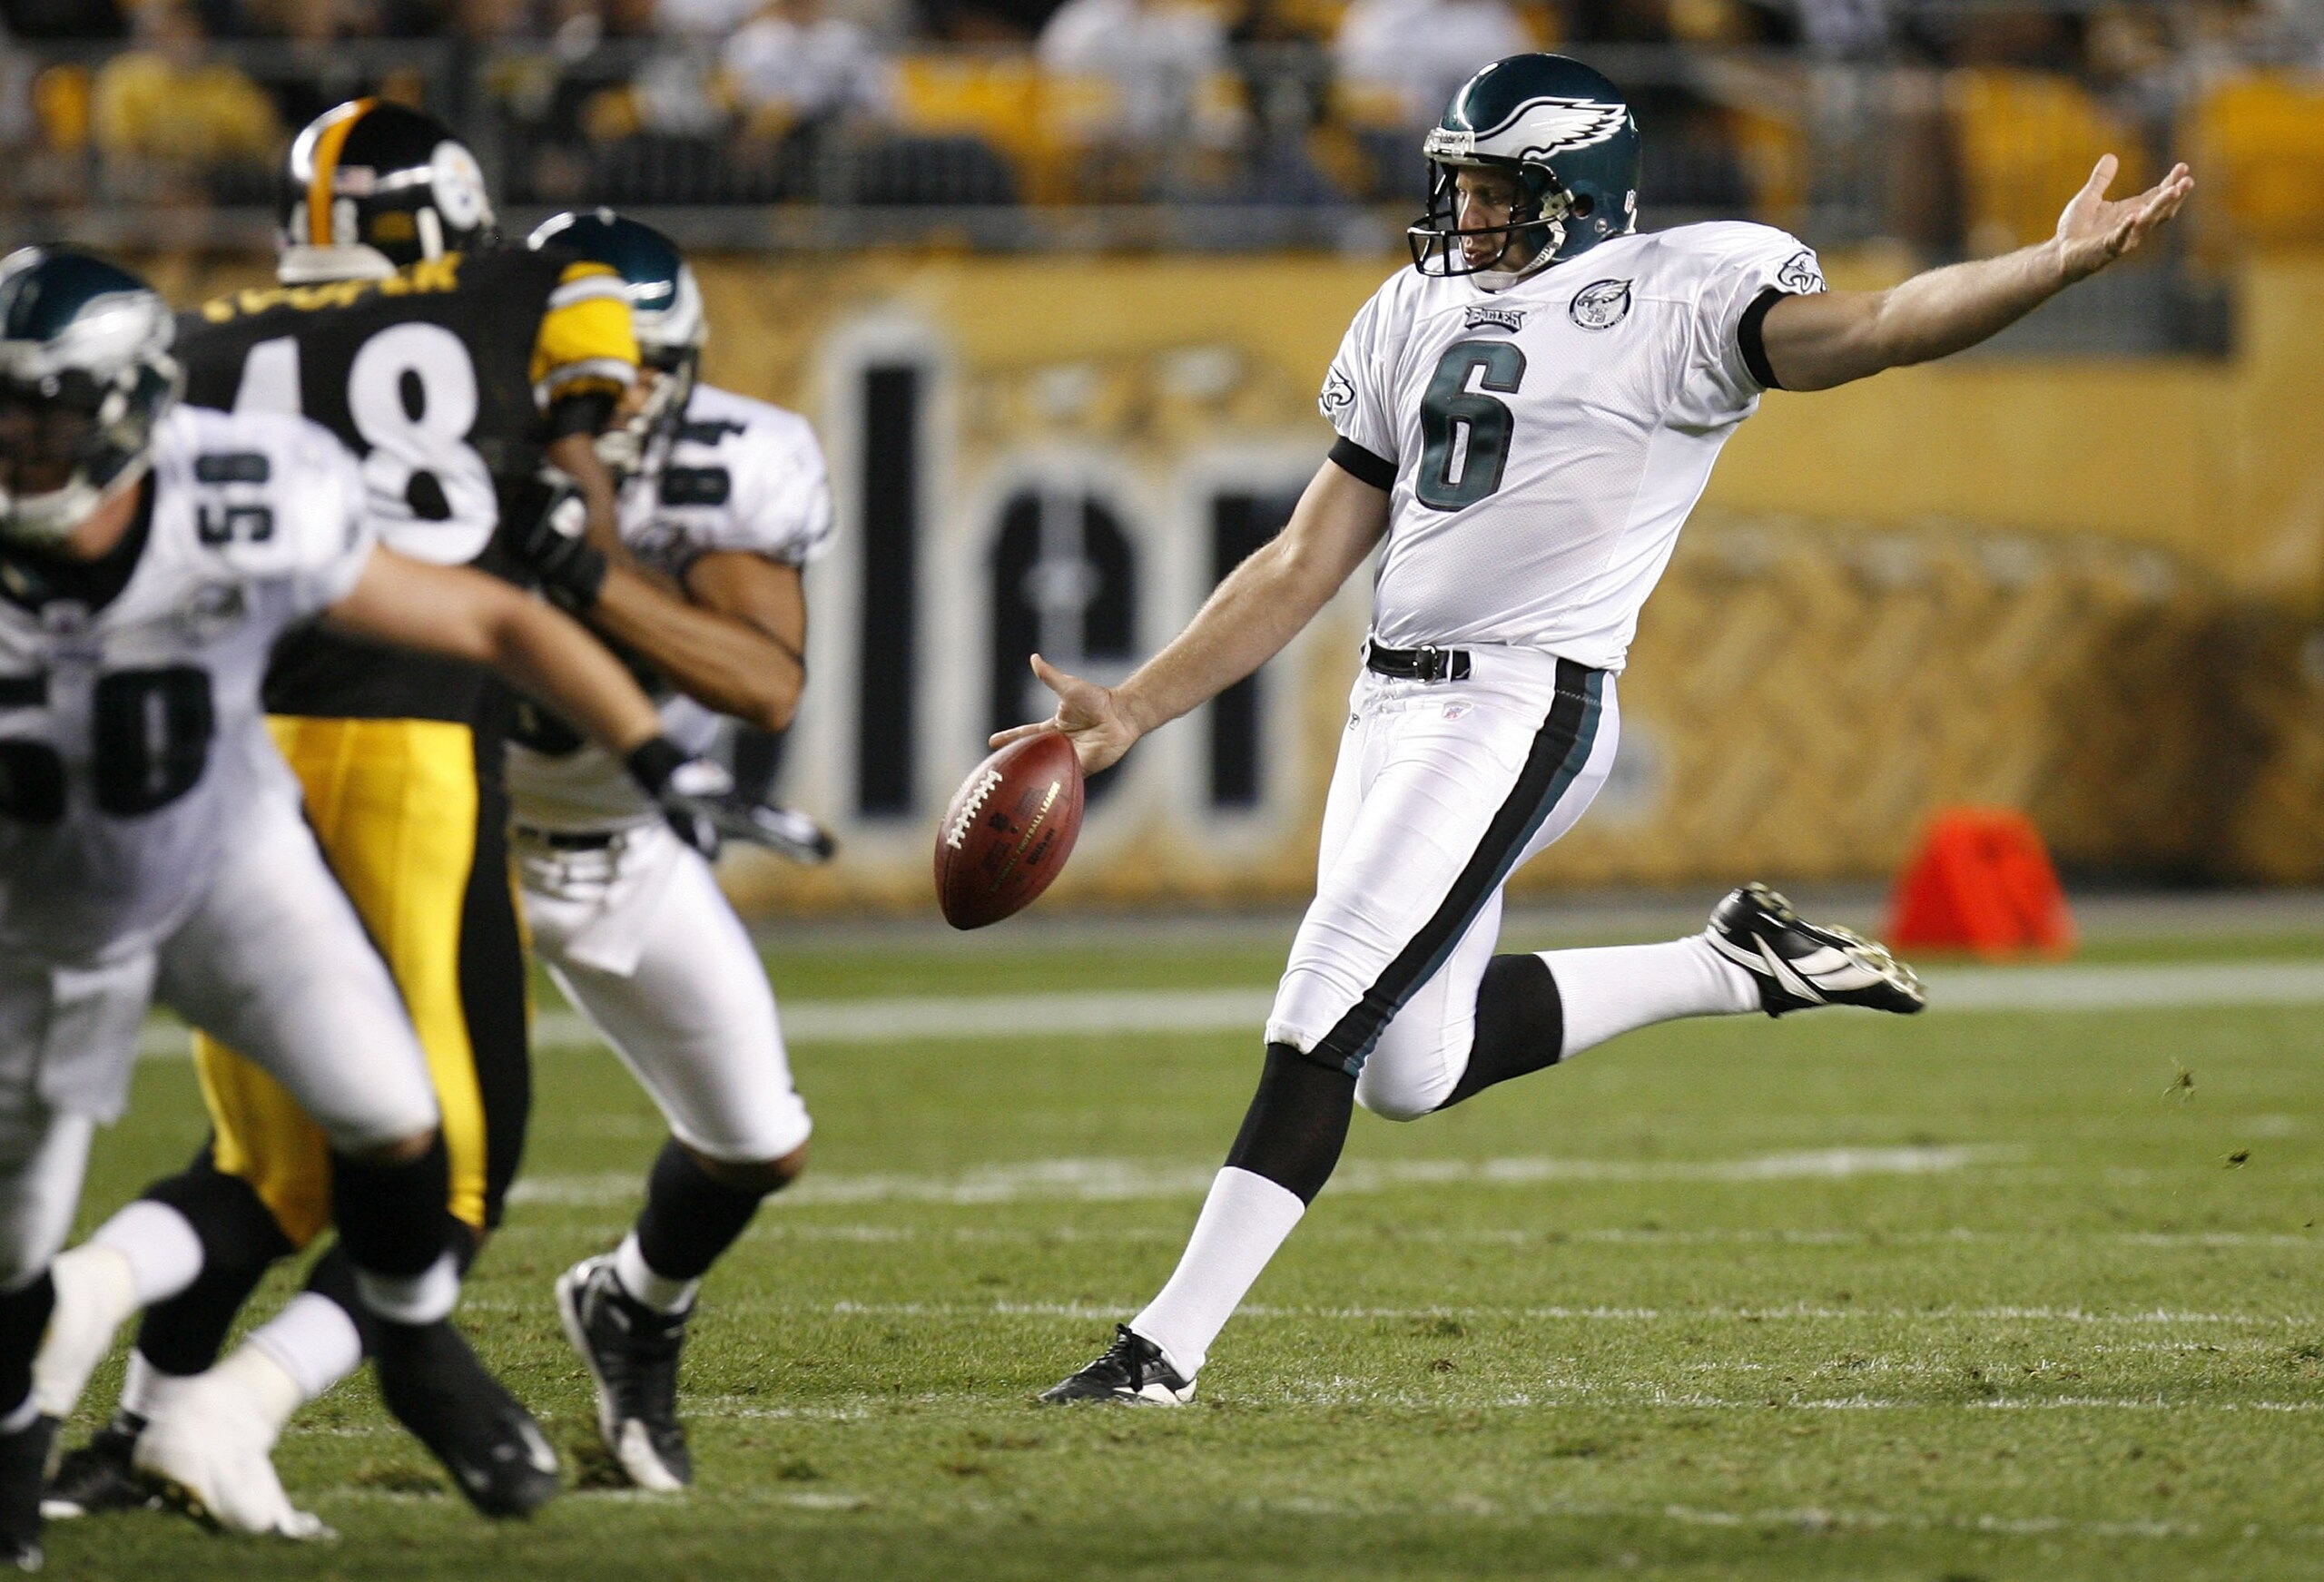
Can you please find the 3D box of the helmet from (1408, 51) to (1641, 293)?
[{"bbox_3d":[0.639,-1.097,6.426,0.437,0.360,0.312,-7,14,-17],"label":"helmet"}]

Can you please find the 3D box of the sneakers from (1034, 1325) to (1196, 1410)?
[{"bbox_3d":[-0.073,0.960,6.058,0.291,0.117,0.103,0,1,-9],"label":"sneakers"}]

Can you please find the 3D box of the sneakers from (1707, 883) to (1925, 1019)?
[{"bbox_3d":[1.197,0.283,6.811,0.473,0.199,0.183,5,25,40],"label":"sneakers"}]

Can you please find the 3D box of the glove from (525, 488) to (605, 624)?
[{"bbox_3d":[-0.907,-0.391,5.426,0.094,0.126,0.218,10,-2,-12],"label":"glove"}]

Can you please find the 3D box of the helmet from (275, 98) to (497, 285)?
[{"bbox_3d":[-1.270,-0.973,5.901,0.290,0.323,0.379,9,17,21],"label":"helmet"}]

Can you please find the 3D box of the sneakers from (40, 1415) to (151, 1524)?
[{"bbox_3d":[-1.652,1.040,5.651,0.237,0.154,0.082,2,-11,-45],"label":"sneakers"}]

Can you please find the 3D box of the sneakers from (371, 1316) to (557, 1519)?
[{"bbox_3d":[-1.065,0.953,5.497,0.288,0.100,0.201,46,-7,-2],"label":"sneakers"}]

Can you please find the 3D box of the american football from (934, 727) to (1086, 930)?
[{"bbox_3d":[-0.257,0.061,6.223,0.205,0.334,0.221,44,-8,-19],"label":"american football"}]

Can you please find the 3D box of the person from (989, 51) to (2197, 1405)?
[{"bbox_3d":[0.591,-0.139,6.288,1.586,2.209,0.937,2,12,-6],"label":"person"}]
